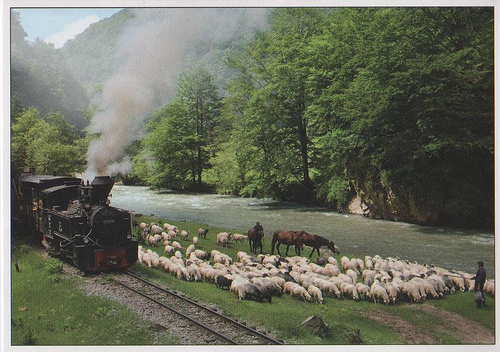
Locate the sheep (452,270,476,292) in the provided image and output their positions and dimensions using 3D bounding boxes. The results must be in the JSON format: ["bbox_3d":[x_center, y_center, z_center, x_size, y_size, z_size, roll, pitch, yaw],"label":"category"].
[{"bbox_3d":[9.873,4.833,17.135,0.759,0.852,0.761,2,-3,20],"label":"sheep"}]

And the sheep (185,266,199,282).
[{"bbox_3d":[-2.572,4.438,16.948,0.295,0.655,0.869,-1,8,-36],"label":"sheep"}]

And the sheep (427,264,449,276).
[{"bbox_3d":[8.942,4.464,17.707,0.329,0.600,1.127,1,-3,-21],"label":"sheep"}]

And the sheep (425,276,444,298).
[{"bbox_3d":[8.173,4.968,16.475,0.410,0.247,0.734,-15,49,-25],"label":"sheep"}]

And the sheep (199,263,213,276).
[{"bbox_3d":[-2.093,4.303,17.273,0.515,0.417,0.815,4,-3,-27],"label":"sheep"}]

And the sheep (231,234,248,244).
[{"bbox_3d":[-0.585,3.607,21.338,0.896,0.577,0.519,3,-3,2],"label":"sheep"}]

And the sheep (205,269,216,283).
[{"bbox_3d":[-1.805,4.521,16.832,0.399,0.626,0.804,4,-3,-18],"label":"sheep"}]

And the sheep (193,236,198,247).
[{"bbox_3d":[-3.028,3.674,20.686,0.412,0.597,0.866,0,-9,-10],"label":"sheep"}]

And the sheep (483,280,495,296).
[{"bbox_3d":[10.821,5.037,16.802,0.394,0.692,0.321,1,-3,39],"label":"sheep"}]

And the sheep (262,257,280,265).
[{"bbox_3d":[1.076,4.255,18.664,0.835,0.349,0.305,3,-3,8],"label":"sheep"}]

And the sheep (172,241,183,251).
[{"bbox_3d":[-4.022,3.866,20.700,0.578,0.409,0.395,4,-3,-12],"label":"sheep"}]

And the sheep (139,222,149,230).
[{"bbox_3d":[-6.542,3.115,22.999,0.480,0.460,0.639,4,-3,-16],"label":"sheep"}]

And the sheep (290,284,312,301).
[{"bbox_3d":[2.063,4.965,16.039,1.132,0.598,0.415,4,4,38],"label":"sheep"}]

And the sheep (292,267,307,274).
[{"bbox_3d":[2.350,4.378,17.422,0.661,0.374,0.215,7,0,41],"label":"sheep"}]

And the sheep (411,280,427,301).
[{"bbox_3d":[7.384,5.019,16.239,0.200,0.726,0.383,-24,-34,-12],"label":"sheep"}]

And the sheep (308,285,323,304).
[{"bbox_3d":[2.840,5.061,15.922,0.687,0.721,0.526,1,-3,35],"label":"sheep"}]

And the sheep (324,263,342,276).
[{"bbox_3d":[3.886,4.363,17.408,0.453,0.342,0.811,-10,23,-36],"label":"sheep"}]

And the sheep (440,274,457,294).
[{"bbox_3d":[9.072,4.856,17.111,0.555,0.496,0.950,-11,22,-10],"label":"sheep"}]

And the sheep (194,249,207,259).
[{"bbox_3d":[-2.563,4.002,19.073,0.633,0.532,0.279,13,3,14],"label":"sheep"}]

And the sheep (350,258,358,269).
[{"bbox_3d":[5.033,4.228,17.996,0.310,0.422,0.465,2,-3,15],"label":"sheep"}]

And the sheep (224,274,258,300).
[{"bbox_3d":[-0.529,4.686,15.887,1.816,0.931,0.515,4,0,39],"label":"sheep"}]

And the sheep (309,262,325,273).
[{"bbox_3d":[3.077,4.350,17.678,0.492,0.304,0.919,5,-3,-27],"label":"sheep"}]

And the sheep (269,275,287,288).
[{"bbox_3d":[1.256,4.643,16.536,0.660,0.450,0.295,29,4,17],"label":"sheep"}]

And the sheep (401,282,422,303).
[{"bbox_3d":[6.978,4.997,16.088,0.418,0.740,1.240,-9,1,-7],"label":"sheep"}]

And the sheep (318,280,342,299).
[{"bbox_3d":[3.420,4.849,16.333,1.131,0.799,0.520,8,12,34],"label":"sheep"}]

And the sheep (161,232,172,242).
[{"bbox_3d":[-4.936,3.552,21.741,0.792,0.479,0.548,1,-3,33],"label":"sheep"}]

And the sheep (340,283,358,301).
[{"bbox_3d":[4.275,4.971,16.012,0.748,0.712,0.359,2,-3,18],"label":"sheep"}]

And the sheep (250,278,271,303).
[{"bbox_3d":[0.543,4.754,15.990,0.401,0.766,1.421,-15,21,-26],"label":"sheep"}]

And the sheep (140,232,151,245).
[{"bbox_3d":[-6.077,3.608,22.196,0.362,0.791,1.396,1,-4,-36],"label":"sheep"}]

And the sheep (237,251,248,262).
[{"bbox_3d":[-0.342,4.174,19.145,0.510,0.448,0.777,4,-3,-14],"label":"sheep"}]

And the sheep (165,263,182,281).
[{"bbox_3d":[-3.631,4.487,17.663,0.388,0.689,1.279,5,-4,-37],"label":"sheep"}]

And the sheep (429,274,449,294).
[{"bbox_3d":[8.585,4.961,16.990,0.299,0.719,1.301,-17,4,21],"label":"sheep"}]

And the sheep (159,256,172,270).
[{"bbox_3d":[-4.225,4.208,18.001,0.355,0.556,0.792,1,6,-44],"label":"sheep"}]

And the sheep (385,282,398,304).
[{"bbox_3d":[6.054,4.965,15.882,0.307,0.484,0.906,-8,26,9],"label":"sheep"}]

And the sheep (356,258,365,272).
[{"bbox_3d":[5.477,4.351,18.317,0.367,0.604,1.168,2,-3,17],"label":"sheep"}]

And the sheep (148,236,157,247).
[{"bbox_3d":[-5.566,3.736,21.368,0.455,0.623,0.731,4,-3,-15],"label":"sheep"}]

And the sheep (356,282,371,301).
[{"bbox_3d":[4.949,5.040,16.177,0.604,0.740,0.607,2,-3,20],"label":"sheep"}]

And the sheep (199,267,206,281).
[{"bbox_3d":[-2.172,4.485,17.161,0.255,0.584,0.584,3,-3,-7],"label":"sheep"}]

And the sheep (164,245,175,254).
[{"bbox_3d":[-4.228,3.893,19.606,0.555,0.474,0.593,3,-3,-1],"label":"sheep"}]

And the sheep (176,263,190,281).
[{"bbox_3d":[-3.144,4.444,17.175,0.281,0.536,1.015,-17,52,-31],"label":"sheep"}]
